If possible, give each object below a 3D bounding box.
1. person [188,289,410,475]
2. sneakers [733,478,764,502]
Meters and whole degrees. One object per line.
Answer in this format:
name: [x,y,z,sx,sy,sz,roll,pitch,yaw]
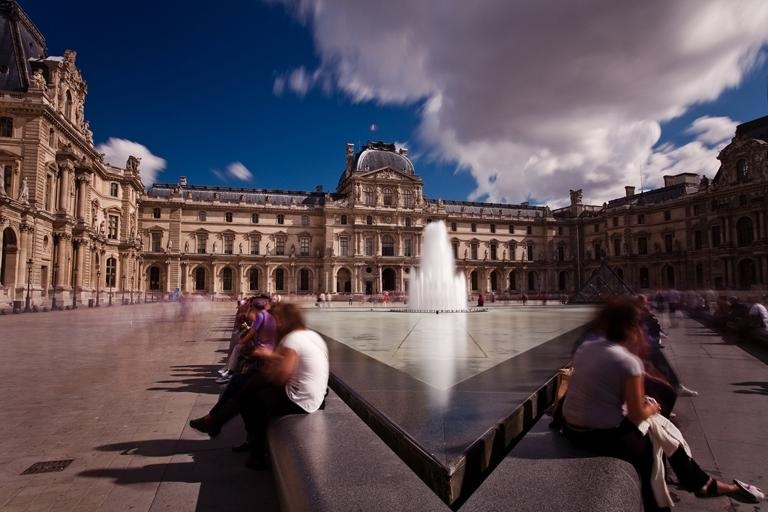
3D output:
person: [-1.615,1.818,7.860,1.584,2.239,0.627,0,-1,26]
sneakers: [4.680,2.992,7.046,0.354,0.207,0.210,1,-1,-9]
